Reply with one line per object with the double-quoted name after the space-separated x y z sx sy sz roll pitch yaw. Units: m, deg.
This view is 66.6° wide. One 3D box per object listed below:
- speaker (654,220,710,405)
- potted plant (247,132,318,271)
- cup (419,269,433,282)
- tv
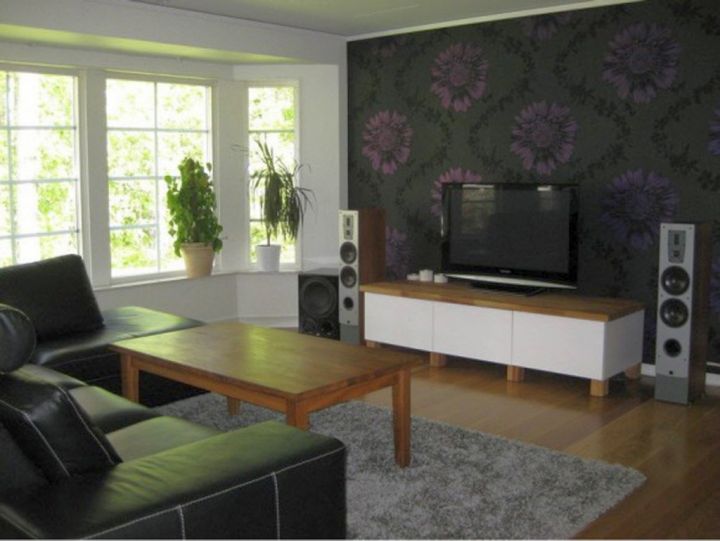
2.395 0.292 4.058 0.317 1.300 0.457 9 12 42 "speaker"
-0.894 -0.756 6.023 0.754 1.539 0.469 2 9 8 "potted plant"
0.649 0.042 5.400 0.109 0.111 0.113 1 -1 0 "cup"
1.350 -0.281 4.750 0.940 0.708 0.099 6 10 39 "tv"
